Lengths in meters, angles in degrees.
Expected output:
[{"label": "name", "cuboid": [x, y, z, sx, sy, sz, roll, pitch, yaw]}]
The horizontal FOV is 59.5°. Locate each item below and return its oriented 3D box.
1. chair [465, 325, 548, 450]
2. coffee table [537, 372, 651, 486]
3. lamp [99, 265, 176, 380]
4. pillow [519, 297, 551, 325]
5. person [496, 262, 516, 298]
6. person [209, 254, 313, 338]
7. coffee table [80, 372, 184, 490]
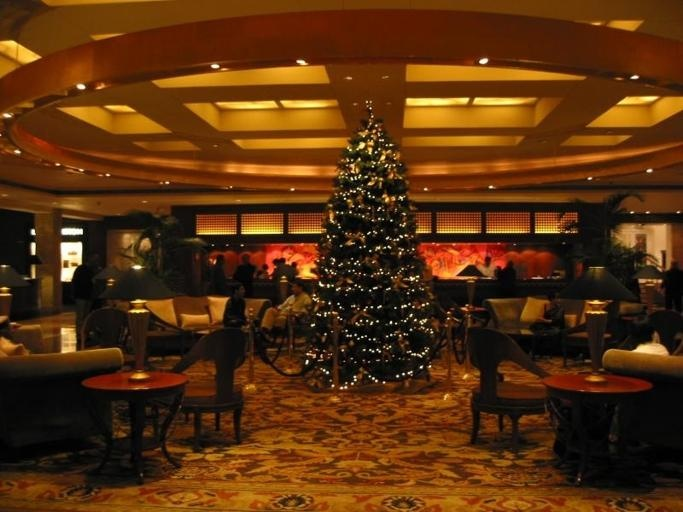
[{"label": "chair", "cuboid": [1.661, 1.318, 6.073, 0.783, 1.191, 0.578, 1, 3, 14]}, {"label": "coffee table", "cuboid": [2.419, 1.454, 5.394, 1.122, 0.734, 1.026, 2, -5, -29]}, {"label": "lamp", "cuboid": [-2.116, 0.734, 6.276, 0.610, 1.312, 1.752, -1, 3, -18]}, {"label": "pillow", "cuboid": [3.659, 1.037, 11.459, 0.543, 0.480, 0.231, 7, -24, 45]}, {"label": "person", "cuboid": [4.216, 0.599, 15.357, 0.489, 0.854, 0.774, 0, 3, 13]}, {"label": "person", "cuboid": [-1.356, 1.114, 11.483, 1.209, 1.096, 2.182, -6, -26, -4]}, {"label": "coffee table", "cuboid": [-1.901, 1.556, 5.514, 1.000, 0.646, 0.827, 0, -13, -17]}]
